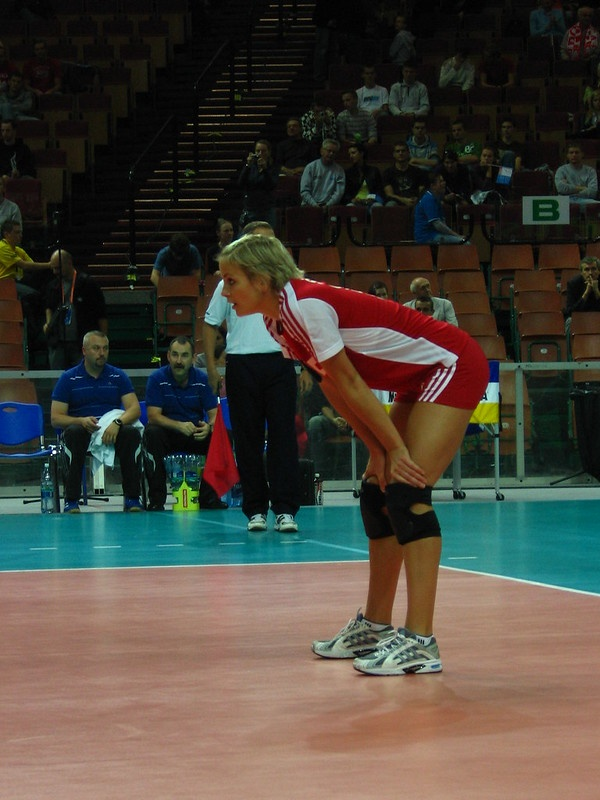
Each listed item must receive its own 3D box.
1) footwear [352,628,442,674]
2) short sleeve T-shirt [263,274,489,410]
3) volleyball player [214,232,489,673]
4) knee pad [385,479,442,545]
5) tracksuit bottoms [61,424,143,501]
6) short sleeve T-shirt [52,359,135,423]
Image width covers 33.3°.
[{"bbox_3d":[0.235,0.583,2.353,0.252,0.108,0.081,-1,-7,2],"label":"footwear"},{"bbox_3d":[0.191,-0.136,2.452,0.477,0.148,0.325,18,-13,-17],"label":"short sleeve T-shirt"},{"bbox_3d":[0.144,0.111,2.485,0.513,1.033,0.461,-1,-1,31],"label":"volleyball player"},{"bbox_3d":[0.269,0.276,2.431,0.125,0.159,0.162,0,-1,4],"label":"knee pad"},{"bbox_3d":[-1.470,0.433,7.478,0.715,0.569,0.289,0,0,2],"label":"tracksuit bottoms"},{"bbox_3d":[-1.566,-0.043,7.802,0.806,0.530,0.381,0,-3,-9],"label":"short sleeve T-shirt"}]
